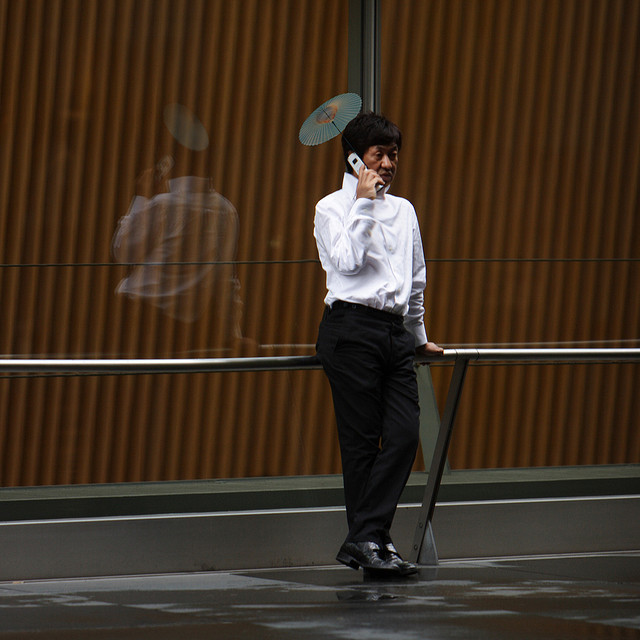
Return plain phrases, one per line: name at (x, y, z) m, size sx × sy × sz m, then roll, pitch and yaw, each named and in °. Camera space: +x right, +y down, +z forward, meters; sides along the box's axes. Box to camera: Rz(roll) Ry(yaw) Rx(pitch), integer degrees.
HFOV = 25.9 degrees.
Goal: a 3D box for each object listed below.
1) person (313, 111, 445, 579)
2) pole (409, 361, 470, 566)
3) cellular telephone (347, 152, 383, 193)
person at (0.172, 0.077, 4.573) m, size 0.376 × 1.466 × 0.551 m, roll -4°, pitch -28°, yaw 15°
pole at (0.414, 0.465, 4.789) m, size 0.134 × 0.700 × 0.124 m, roll 5°, pitch 15°, yaw -26°
cellular telephone at (0.150, -0.497, 4.669) m, size 0.036 × 0.163 × 0.077 m, roll -15°, pitch -26°, yaw -23°
